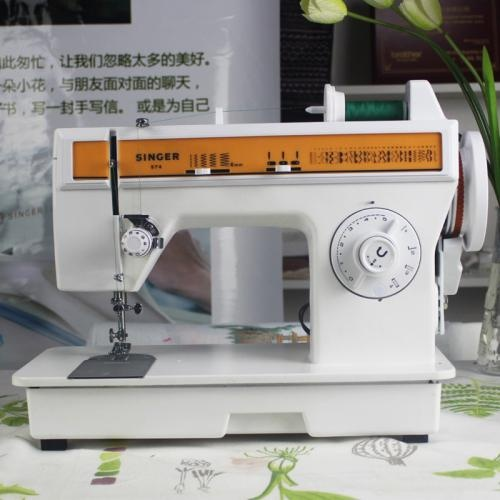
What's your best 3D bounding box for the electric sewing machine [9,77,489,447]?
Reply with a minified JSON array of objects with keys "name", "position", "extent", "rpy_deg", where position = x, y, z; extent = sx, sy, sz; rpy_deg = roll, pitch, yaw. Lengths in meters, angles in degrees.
[{"name":"electric sewing machine","position":[-0.014,0.012,1.957],"extent":[1.220,0.805,0.402],"rpy_deg":[0,0,0]}]
